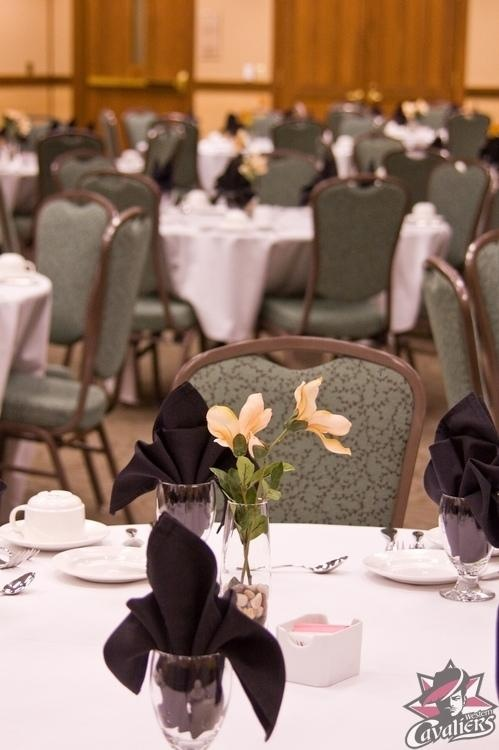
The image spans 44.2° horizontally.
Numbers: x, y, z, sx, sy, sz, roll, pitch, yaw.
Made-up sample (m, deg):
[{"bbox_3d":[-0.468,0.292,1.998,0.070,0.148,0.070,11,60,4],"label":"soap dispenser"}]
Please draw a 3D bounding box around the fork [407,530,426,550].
[{"bbox_3d":[0.273,0.270,1.004,0.026,0.028,0.026,1,2,-2],"label":"fork"}]

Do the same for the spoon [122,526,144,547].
[{"bbox_3d":[-0.193,0.265,1.007,0.018,0.027,0.027,-1,-19,-8],"label":"spoon"}]

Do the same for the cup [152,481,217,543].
[{"bbox_3d":[-0.071,0.152,0.735,0.080,0.089,0.080,0,-2,0],"label":"cup"}]

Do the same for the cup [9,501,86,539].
[{"bbox_3d":[-0.327,0.222,0.972,0.089,0.046,0.066,-2,-5,-5],"label":"cup"}]

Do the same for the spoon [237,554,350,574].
[{"bbox_3d":[0.056,0.281,0.898,0.175,0.030,0.034,-5,29,14],"label":"spoon"}]
